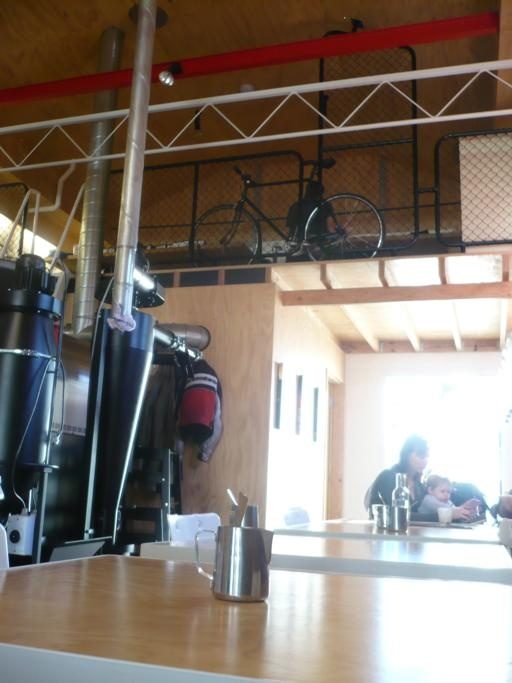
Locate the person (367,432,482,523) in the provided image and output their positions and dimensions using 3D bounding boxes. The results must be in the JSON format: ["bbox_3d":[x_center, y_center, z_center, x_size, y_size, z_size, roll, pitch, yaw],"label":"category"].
[{"bbox_3d":[1.063,0.925,3.880,0.726,0.685,0.521,-9,-17,29],"label":"person"}]

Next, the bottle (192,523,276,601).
[{"bbox_3d":[-0.036,0.391,1.039,0.136,0.141,0.093,1,-7,0],"label":"bottle"}]

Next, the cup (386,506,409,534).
[{"bbox_3d":[0.691,0.876,2.872,0.088,0.125,0.123,2,-19,-3],"label":"cup"}]
